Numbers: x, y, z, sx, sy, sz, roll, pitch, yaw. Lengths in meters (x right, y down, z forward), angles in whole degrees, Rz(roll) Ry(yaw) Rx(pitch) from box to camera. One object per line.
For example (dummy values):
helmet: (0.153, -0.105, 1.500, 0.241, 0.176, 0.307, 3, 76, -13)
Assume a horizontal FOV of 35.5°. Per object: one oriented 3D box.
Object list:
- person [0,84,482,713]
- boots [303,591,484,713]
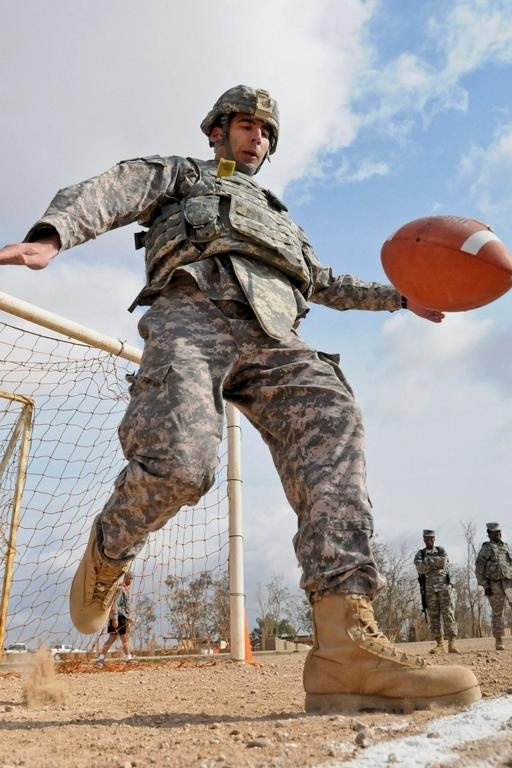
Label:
person: (-0.158, 0.019, 2.769, 1.376, 2.049, 0.949, 4, -19, -12)
boots: (0.405, 0.765, 2.277, 0.596, 0.320, 0.193, -17, -29, 36)
